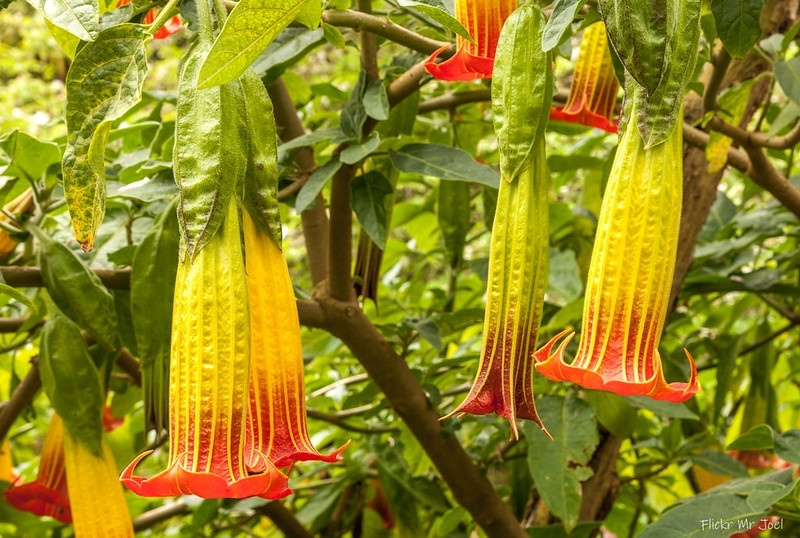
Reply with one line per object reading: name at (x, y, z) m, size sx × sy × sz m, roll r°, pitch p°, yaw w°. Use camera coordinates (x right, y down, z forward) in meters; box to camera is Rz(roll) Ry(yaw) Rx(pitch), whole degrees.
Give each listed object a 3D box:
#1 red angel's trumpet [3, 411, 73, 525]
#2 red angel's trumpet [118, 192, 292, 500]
red angel's trumpet at (-0.689, 0.392, 1.600) m, size 0.117 × 0.153 × 0.237 m, roll -9°, pitch -4°, yaw -24°
red angel's trumpet at (-0.263, 0.095, 1.256) m, size 0.245 × 0.489 × 0.237 m, roll 13°, pitch 30°, yaw 6°
